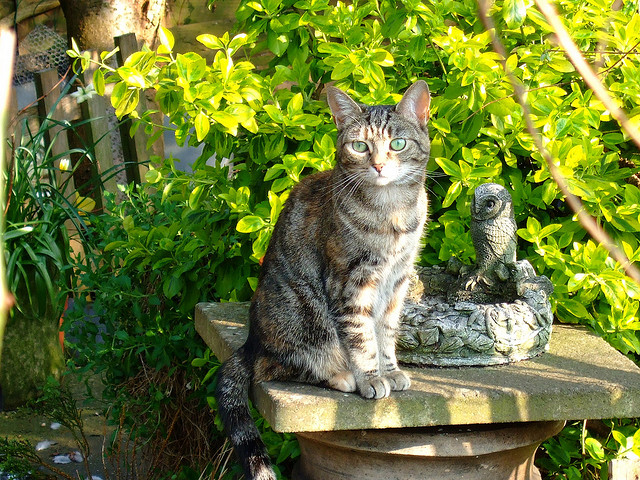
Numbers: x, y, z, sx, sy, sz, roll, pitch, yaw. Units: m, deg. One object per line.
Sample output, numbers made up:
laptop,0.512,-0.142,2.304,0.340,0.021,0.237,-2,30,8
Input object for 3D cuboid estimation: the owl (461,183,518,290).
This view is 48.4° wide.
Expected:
owl,0.689,-0.037,2.888,0.251,0.402,0.198,-12,19,-26
